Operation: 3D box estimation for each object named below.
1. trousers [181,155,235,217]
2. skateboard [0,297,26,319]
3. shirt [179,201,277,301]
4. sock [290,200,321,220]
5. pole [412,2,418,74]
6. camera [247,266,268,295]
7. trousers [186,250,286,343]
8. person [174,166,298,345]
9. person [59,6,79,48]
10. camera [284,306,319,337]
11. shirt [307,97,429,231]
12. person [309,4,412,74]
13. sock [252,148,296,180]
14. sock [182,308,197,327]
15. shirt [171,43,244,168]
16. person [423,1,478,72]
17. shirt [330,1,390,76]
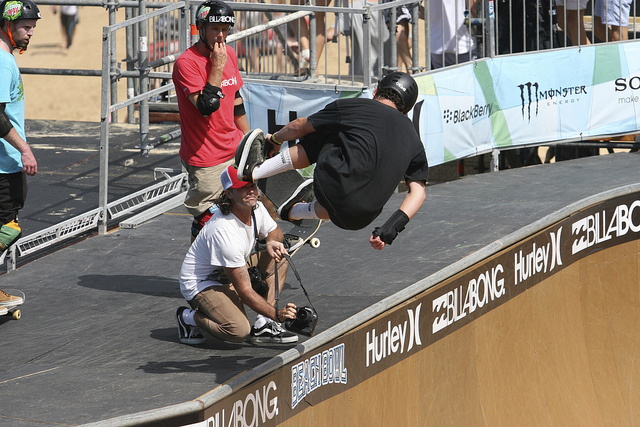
[{"bbox_3d":[-1.116,-0.298,11.570,0.324,0.519,0.401,-2,6,13],"label":"trousers"},{"bbox_3d":[-3.123,0.984,11.130,0.214,0.226,0.262,-6,12,-16],"label":"skateboard"},{"bbox_3d":[-0.886,0.393,10.820,0.776,1.128,1.137,15,26,25],"label":"shirt"},{"bbox_3d":[-0.168,-0.023,11.067,0.364,0.116,0.368,-4,12,-42],"label":"sock"},{"bbox_3d":[1.238,-2.350,14.126,0.080,0.838,0.145,-2,12,3],"label":"pole"},{"bbox_3d":[-0.572,0.666,10.879,0.210,0.265,0.091,29,60,35],"label":"camera"},{"bbox_3d":[-0.780,0.856,10.754,0.874,0.834,0.528,-13,16,-42],"label":"trousers"},{"bbox_3d":[-0.810,0.430,10.504,1.191,1.745,0.467,4,14,27],"label":"person"},{"bbox_3d":[-7.972,-6.099,35.166,0.527,1.335,2.775,-5,12,-12],"label":"person"},{"bbox_3d":[-0.153,1.023,10.239,0.296,0.267,0.189,12,4,7],"label":"camera"},{"bbox_3d":[0.476,-0.486,10.600,1.097,1.284,0.367,-3,12,-1],"label":"shirt"},{"bbox_3d":[0.602,-2.369,14.555,1.234,0.909,2.565,-1,12,5],"label":"person"},{"bbox_3d":[-0.341,-0.483,10.707,0.564,0.172,0.240,-31,33,-27],"label":"sock"},{"bbox_3d":[-1.243,1.013,10.735,0.143,0.224,0.246,-5,-2,-1],"label":"sock"},{"bbox_3d":[-1.140,-1.179,11.593,0.708,1.206,1.021,15,23,24],"label":"shirt"},{"bbox_3d":[1.792,-2.474,14.898,0.689,0.959,1.443,-1,12,7],"label":"person"},{"bbox_3d":[0.668,-2.457,14.639,0.513,1.196,0.841,8,-13,-30],"label":"shirt"}]
